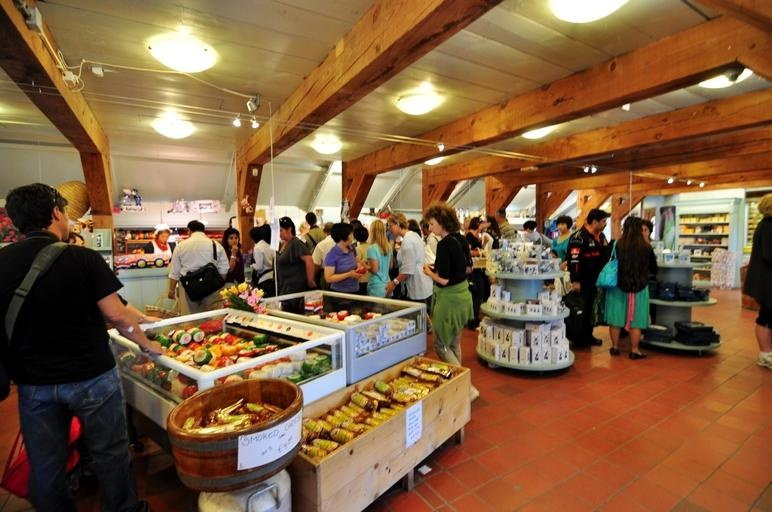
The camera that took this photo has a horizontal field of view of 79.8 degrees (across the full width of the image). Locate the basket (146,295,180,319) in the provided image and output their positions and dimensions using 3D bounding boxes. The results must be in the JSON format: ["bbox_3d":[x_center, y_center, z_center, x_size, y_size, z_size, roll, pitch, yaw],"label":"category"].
[{"bbox_3d":[-3.311,0.738,6.847,0.406,0.483,0.513,-1,-5,-7],"label":"basket"}]

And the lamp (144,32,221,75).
[{"bbox_3d":[-2.026,-2.040,4.574,0.614,0.342,0.306,-2,8,-17],"label":"lamp"}]

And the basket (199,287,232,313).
[{"bbox_3d":[-2.059,0.512,5.551,0.522,0.284,0.361,-5,-13,-19],"label":"basket"}]

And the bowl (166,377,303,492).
[{"bbox_3d":[-1.094,1.258,3.394,0.923,0.366,0.835,-6,11,-44],"label":"bowl"}]

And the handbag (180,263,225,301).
[{"bbox_3d":[-2.294,0.330,5.885,0.544,0.439,0.207,-25,5,2],"label":"handbag"}]

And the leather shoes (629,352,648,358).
[{"bbox_3d":[3.412,1.323,6.235,0.253,0.082,0.087,-2,0,-22],"label":"leather shoes"}]

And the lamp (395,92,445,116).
[{"bbox_3d":[0.481,-1.946,5.921,0.662,0.222,0.518,-2,7,-15],"label":"lamp"}]

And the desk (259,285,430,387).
[{"bbox_3d":[-0.151,0.706,4.620,1.232,0.411,0.908,3,6,42],"label":"desk"}]

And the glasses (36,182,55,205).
[{"bbox_3d":[-2.647,-0.489,3.622,0.127,0.162,0.087,-3,10,-5],"label":"glasses"}]

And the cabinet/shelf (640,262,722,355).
[{"bbox_3d":[4.322,0.716,6.832,1.280,1.221,1.323,-2,4,7],"label":"cabinet/shelf"}]

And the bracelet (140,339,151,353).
[{"bbox_3d":[-1.964,0.743,3.801,0.082,0.076,0.077,-1,8,-4],"label":"bracelet"}]

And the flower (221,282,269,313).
[{"bbox_3d":[-1.424,0.454,4.743,0.296,0.347,0.357,-35,-25,11],"label":"flower"}]

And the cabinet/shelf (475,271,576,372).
[{"bbox_3d":[1.799,0.860,6.153,1.297,1.070,1.240,1,14,6],"label":"cabinet/shelf"}]

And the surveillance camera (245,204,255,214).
[{"bbox_3d":[-2.315,-0.795,7.810,0.161,0.137,0.040,-4,25,-37],"label":"surveillance camera"}]
